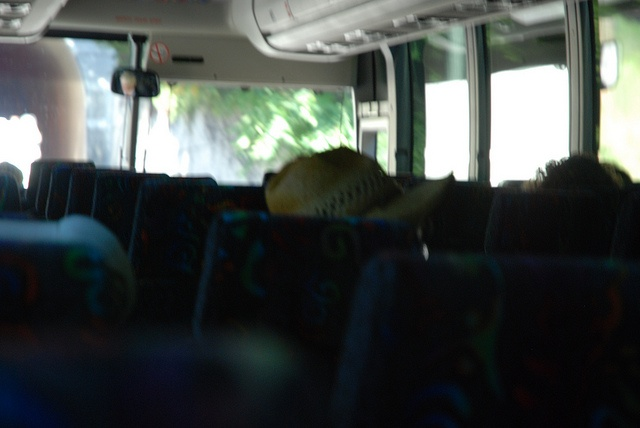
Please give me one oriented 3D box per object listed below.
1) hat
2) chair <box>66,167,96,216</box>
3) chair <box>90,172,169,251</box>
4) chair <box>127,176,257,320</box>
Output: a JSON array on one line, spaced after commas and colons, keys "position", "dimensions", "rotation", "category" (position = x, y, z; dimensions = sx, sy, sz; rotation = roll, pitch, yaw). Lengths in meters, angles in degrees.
[{"position": [0.066, -0.049, 1.097], "dimensions": [0.207, 0.070, 0.228], "rotation": [-25, 13, 0], "category": "hat"}, {"position": [-0.984, -0.107, 2.210], "dimensions": [0.121, 0.216, 0.122], "rotation": [-4, 28, -43], "category": "chair"}, {"position": [-0.565, -0.009, 1.581], "dimensions": [0.145, 0.309, 0.157], "rotation": [7, 15, -6], "category": "chair"}, {"position": [-0.309, 0.072, 1.494], "dimensions": [0.270, 0.476, 0.354], "rotation": [2, 1, -6], "category": "chair"}]
